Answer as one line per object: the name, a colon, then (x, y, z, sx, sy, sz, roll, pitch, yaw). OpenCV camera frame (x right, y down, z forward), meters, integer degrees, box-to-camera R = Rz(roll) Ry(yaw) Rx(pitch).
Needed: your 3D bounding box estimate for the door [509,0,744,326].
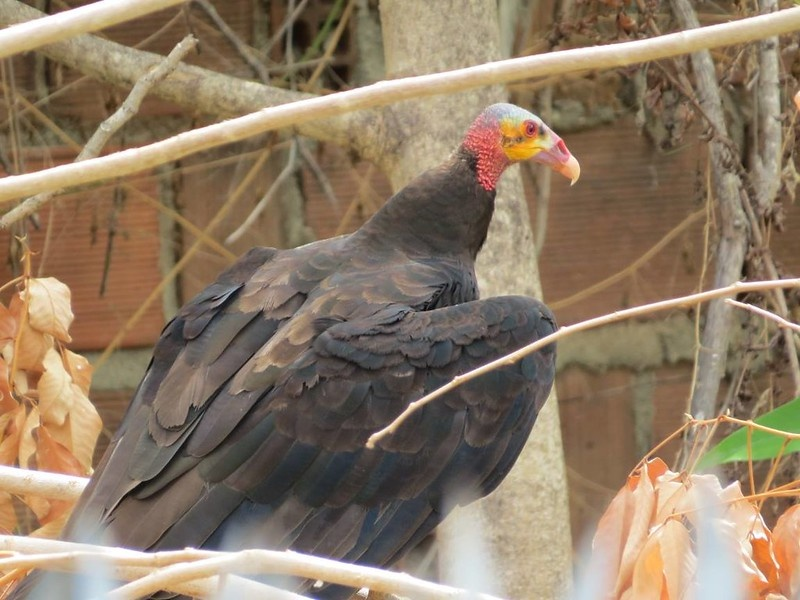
door: (0.552, -0.394, 6.385, 0.841, 0.708, 0.195, -13, 11, 14)

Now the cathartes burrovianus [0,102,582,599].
cathartes burrovianus: (-0.159, 0.101, 5.766, 1.395, 0.915, 0.743, -8, 19, -28)
